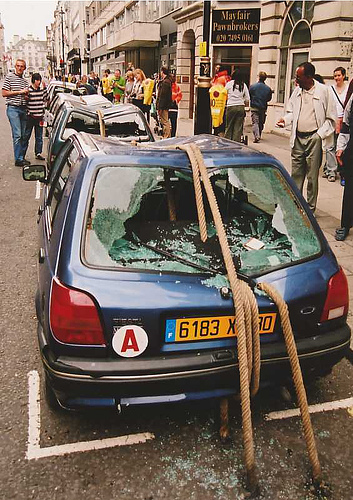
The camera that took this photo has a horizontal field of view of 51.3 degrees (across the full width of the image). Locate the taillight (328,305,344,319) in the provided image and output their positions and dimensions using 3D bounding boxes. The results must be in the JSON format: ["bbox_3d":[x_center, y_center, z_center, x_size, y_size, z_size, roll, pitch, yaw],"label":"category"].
[{"bbox_3d":[0.798,0.313,1.847,0.069,0.113,0.008,-15,41,-25],"label":"taillight"}]

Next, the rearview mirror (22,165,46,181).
[{"bbox_3d":[-1.326,-0.715,3.428,0.272,0.193,0.039,-7,19,-21],"label":"rearview mirror"}]

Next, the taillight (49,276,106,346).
[{"bbox_3d":[-0.409,0.246,1.455,0.285,0.233,0.098,7,8,42],"label":"taillight"}]

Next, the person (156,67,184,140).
[{"bbox_3d":[-0.376,-4.953,12.518,0.672,2.287,1.029,4,7,22],"label":"person"}]

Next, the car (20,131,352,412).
[{"bbox_3d":[-0.079,-0.107,2.292,1.237,0.942,2.095,-4,27,-15],"label":"car"}]

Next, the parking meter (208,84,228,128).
[{"bbox_3d":[0.995,-3.546,9.002,0.408,1.087,0.601,2,6,5],"label":"parking meter"}]
